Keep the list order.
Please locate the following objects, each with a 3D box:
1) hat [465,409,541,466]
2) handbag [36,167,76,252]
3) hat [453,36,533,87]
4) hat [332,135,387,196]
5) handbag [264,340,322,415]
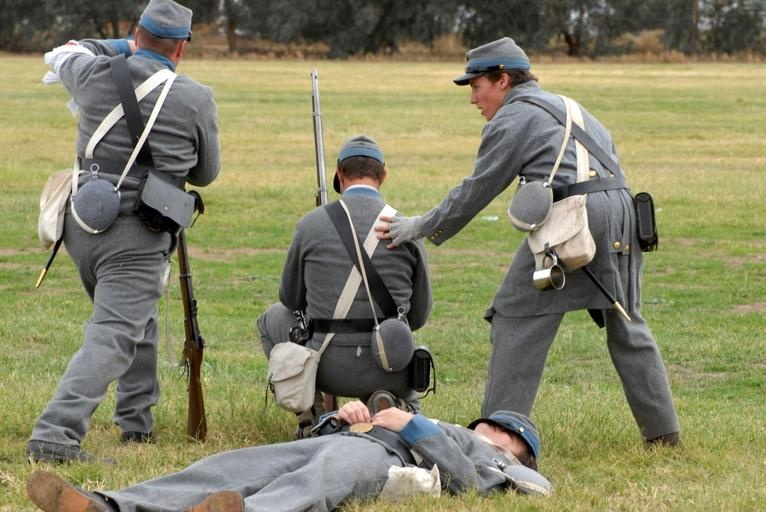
[{"bbox_3d":[1.303,1.901,15.285,0.687,0.479,0.275,31,62,21],"label":"hat"},{"bbox_3d":[-3.524,-0.510,15.790,0.393,0.862,0.519,2,-1,-17],"label":"handbag"},{"bbox_3d":[1.189,-2.169,16.071,0.856,0.384,0.620,-6,6,14],"label":"hat"},{"bbox_3d":[-0.256,-1.080,16.144,0.491,0.353,0.678,-1,1,-2],"label":"hat"},{"bbox_3d":[-1.029,1.328,15.862,0.517,0.744,0.810,1,-5,-10],"label":"handbag"}]
